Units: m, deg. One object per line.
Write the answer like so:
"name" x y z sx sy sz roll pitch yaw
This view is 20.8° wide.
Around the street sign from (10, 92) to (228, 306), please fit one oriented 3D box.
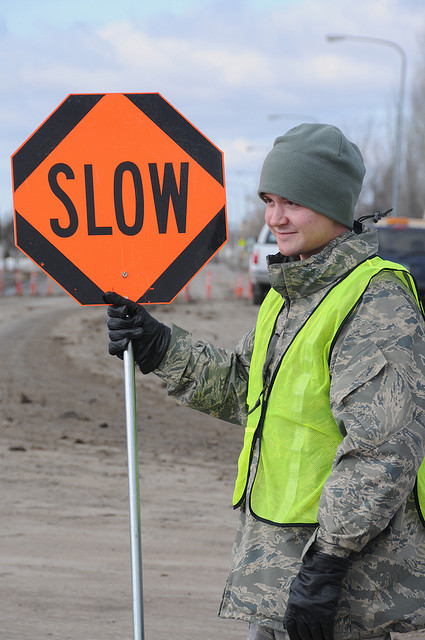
"street sign" -0.272 -0.342 3.370 0.721 0.655 0.024 -1 5 -6
